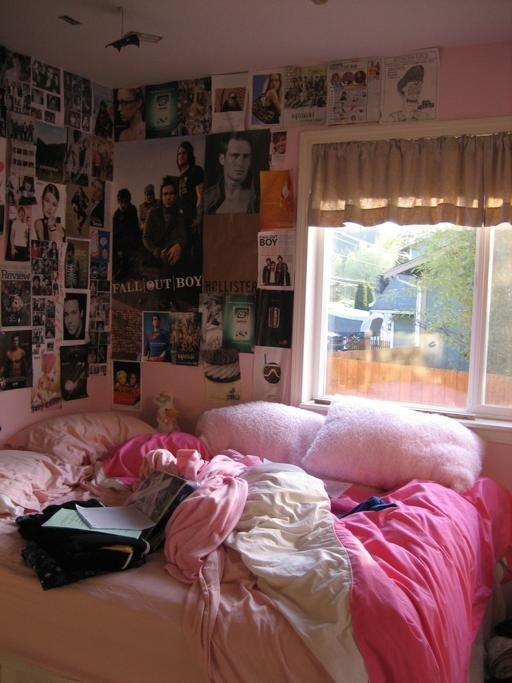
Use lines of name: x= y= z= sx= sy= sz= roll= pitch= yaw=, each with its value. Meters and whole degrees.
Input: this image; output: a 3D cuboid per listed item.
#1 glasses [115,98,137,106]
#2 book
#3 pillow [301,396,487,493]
glasses: x=-0.739 y=-1.368 z=3.046 sx=0.061 sy=0.020 sz=0.065 roll=4 pitch=7 yaw=38
book: x=-0.382 y=0.475 z=1.732 sx=0.223 sy=0.085 sz=0.172 roll=-2 pitch=0 yaw=-37
pillow: x=0.525 y=0.415 z=2.161 sx=0.474 sy=0.156 sz=0.394 roll=9 pitch=33 yaw=25
